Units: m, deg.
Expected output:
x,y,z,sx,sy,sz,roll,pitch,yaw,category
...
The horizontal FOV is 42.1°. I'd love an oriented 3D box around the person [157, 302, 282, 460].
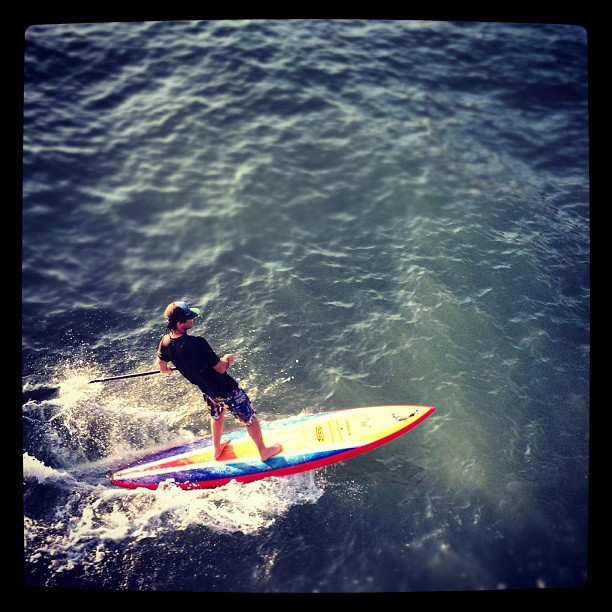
x,y,z,sx,sy,sz,roll,pitch,yaw,category
-1.014,0.895,8.741,1.090,2.062,0.431,-7,22,-6,person
